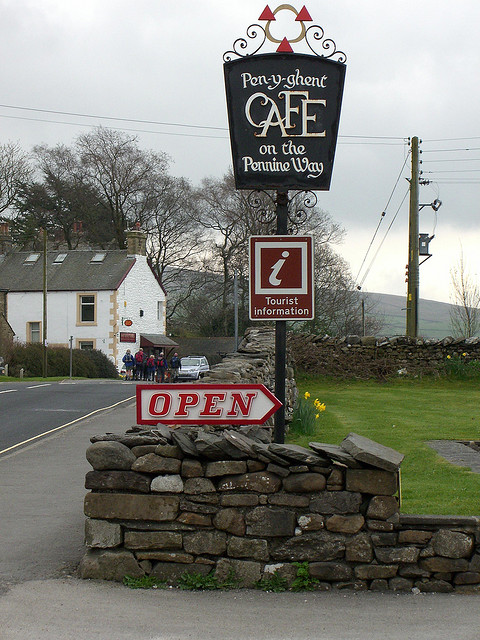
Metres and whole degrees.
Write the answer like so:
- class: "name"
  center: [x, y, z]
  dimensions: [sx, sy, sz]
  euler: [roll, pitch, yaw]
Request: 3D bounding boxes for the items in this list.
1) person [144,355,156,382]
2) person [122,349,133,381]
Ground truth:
- class: "person"
  center: [-3.556, 1.914, 37.083]
  dimensions: [0.393, 0.924, 1.373]
  euler: [1, -2, -6]
- class: "person"
  center: [-4.399, 1.827, 37.147]
  dimensions: [0.332, 1.086, 1.406]
  euler: [1, -2, -6]
